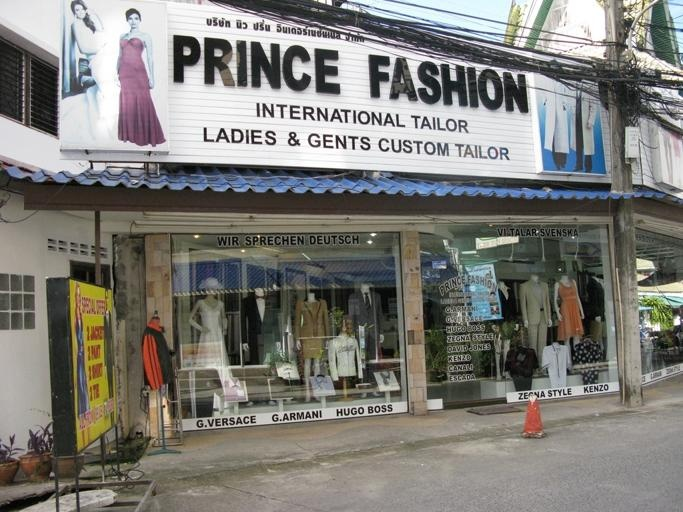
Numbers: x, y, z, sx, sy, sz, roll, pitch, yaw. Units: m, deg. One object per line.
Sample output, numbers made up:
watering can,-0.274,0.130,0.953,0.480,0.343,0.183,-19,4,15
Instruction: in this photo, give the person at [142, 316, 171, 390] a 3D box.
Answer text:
person,-3.289,1.693,11.828,0.460,1.308,0.222,-3,-7,-18

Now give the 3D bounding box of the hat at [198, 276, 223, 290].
hat,-2.565,0.536,13.038,0.414,0.259,0.063,-4,-7,-15

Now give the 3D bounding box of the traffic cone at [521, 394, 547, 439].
traffic cone,3.339,2.769,11.637,0.356,0.666,1.019,-7,-7,14
